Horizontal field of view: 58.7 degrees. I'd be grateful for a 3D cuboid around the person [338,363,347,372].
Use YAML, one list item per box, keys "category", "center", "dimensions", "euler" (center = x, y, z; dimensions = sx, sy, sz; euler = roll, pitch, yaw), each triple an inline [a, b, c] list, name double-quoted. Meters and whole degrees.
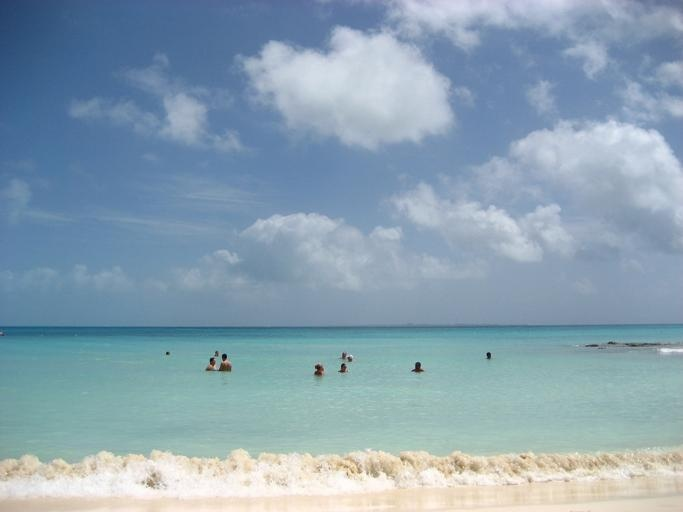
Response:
- category: "person"
  center: [0.195, 10.652, 56.994]
  dimensions: [0.833, 0.474, 1.166]
  euler: [1, 1, 1]
